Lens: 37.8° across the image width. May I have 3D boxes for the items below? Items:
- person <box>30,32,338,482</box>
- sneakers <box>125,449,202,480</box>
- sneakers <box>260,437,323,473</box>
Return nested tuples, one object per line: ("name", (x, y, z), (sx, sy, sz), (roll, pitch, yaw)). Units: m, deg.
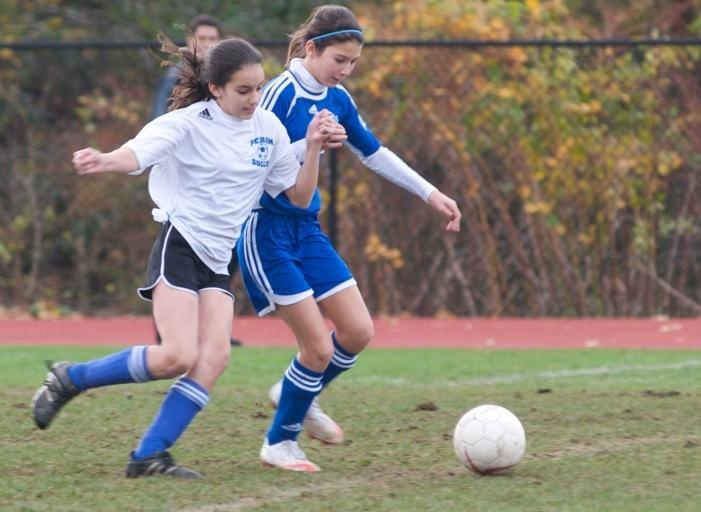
("person", (-0.851, -0.019, 5.478), (1.483, 2.260, 0.646), (-7, 10, -30))
("sneakers", (-0.990, 1.117, 5.365), (0.446, 0.146, 0.136), (2, -10, -2))
("sneakers", (-0.344, 1.085, 5.502), (0.381, 0.128, 0.128), (9, -9, 2))
